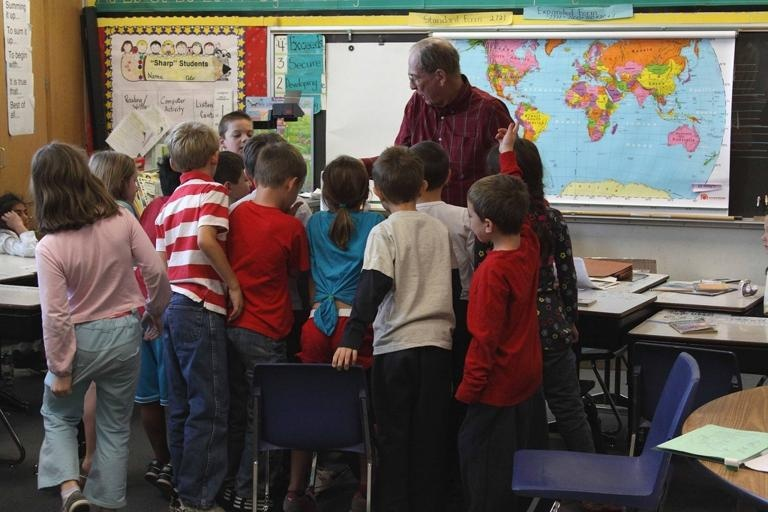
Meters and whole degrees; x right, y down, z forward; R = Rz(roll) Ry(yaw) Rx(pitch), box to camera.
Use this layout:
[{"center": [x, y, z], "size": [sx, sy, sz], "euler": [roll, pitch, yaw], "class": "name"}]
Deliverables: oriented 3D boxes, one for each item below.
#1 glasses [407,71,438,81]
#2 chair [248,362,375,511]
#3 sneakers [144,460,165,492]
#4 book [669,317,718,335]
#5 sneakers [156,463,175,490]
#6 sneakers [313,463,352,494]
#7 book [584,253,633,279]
[{"center": [0.206, -0.998, 3.878], "size": [0.174, 0.059, 0.055], "euler": [7, 11, 33], "class": "glasses"}, {"center": [-0.297, 0.862, 3.542], "size": [0.585, 0.876, 0.619], "euler": [0, -1, 3], "class": "chair"}, {"center": [-1.257, 1.197, 3.822], "size": [0.066, 0.091, 0.191], "euler": [8, -13, 6], "class": "sneakers"}, {"center": [1.794, 0.405, 4.032], "size": [0.263, 0.033, 0.257], "euler": [1, 10, -2], "class": "book"}, {"center": [-1.173, 1.203, 3.758], "size": [0.062, 0.085, 0.179], "euler": [2, -10, 2], "class": "sneakers"}, {"center": [-0.293, 1.262, 3.943], "size": [0.204, 0.061, 0.130], "euler": [-11, 27, -41], "class": "sneakers"}, {"center": [1.579, 0.092, 4.854], "size": [0.212, 0.070, 0.221], "euler": [5, 10, 34], "class": "book"}]
